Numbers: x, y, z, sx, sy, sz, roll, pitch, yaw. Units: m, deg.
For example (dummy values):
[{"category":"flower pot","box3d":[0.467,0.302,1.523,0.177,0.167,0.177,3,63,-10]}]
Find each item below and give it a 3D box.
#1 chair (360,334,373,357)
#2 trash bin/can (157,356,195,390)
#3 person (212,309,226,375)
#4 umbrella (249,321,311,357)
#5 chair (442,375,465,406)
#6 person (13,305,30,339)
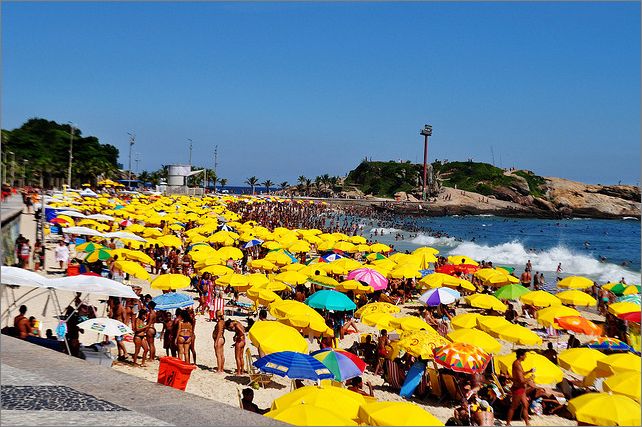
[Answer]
[{"category":"chair","box3d":[1.576,4.405,18.145,0.509,0.688,0.642,2,17,7]},{"category":"trash bin/can","box3d":[-3.774,4.154,13.905,0.875,0.657,0.552,12,-5,22]},{"category":"person","box3d":[-3.112,3.834,16.514,0.371,1.867,1.531,3,1,-9]},{"category":"umbrella","box3d":[-1.230,3.529,15.082,1.726,0.581,1.052,3,2,7]},{"category":"chair","box3d":[3.880,5.139,15.858,0.777,0.996,0.613,16,-13,-42]},{"category":"person","box3d":[-7.972,2.886,14.331,0.396,0.807,1.062,2,2,-29]}]
